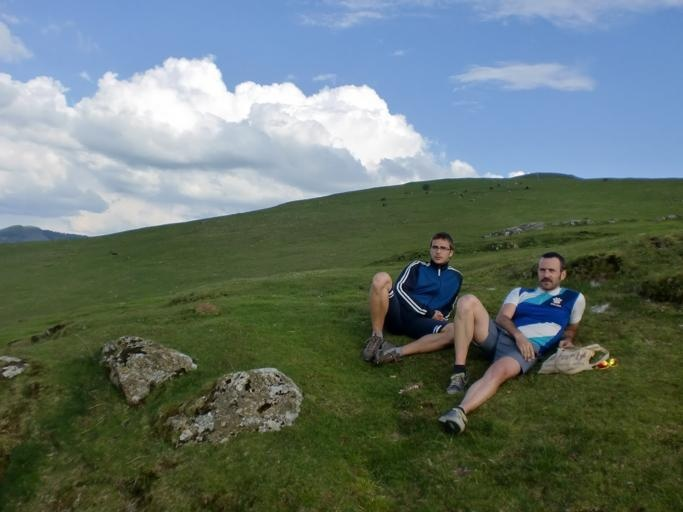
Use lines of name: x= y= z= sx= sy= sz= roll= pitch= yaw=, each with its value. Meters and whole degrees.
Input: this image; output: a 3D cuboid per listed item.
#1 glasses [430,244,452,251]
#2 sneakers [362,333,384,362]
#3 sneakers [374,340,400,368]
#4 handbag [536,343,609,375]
glasses: x=2.026 y=-0.163 z=8.901 sx=0.412 sy=0.135 sz=0.163 roll=-4 pitch=8 yaw=5
sneakers: x=0.640 y=1.751 z=8.567 sx=0.235 sy=0.282 sz=0.663 roll=-4 pitch=25 yaw=27
sneakers: x=0.837 y=1.840 z=8.330 sx=0.630 sy=0.233 sz=0.274 roll=-20 pitch=55 yaw=-38
handbag: x=3.978 y=1.781 z=7.528 sx=0.831 sy=0.246 sz=0.662 roll=-7 pitch=10 yaw=20
